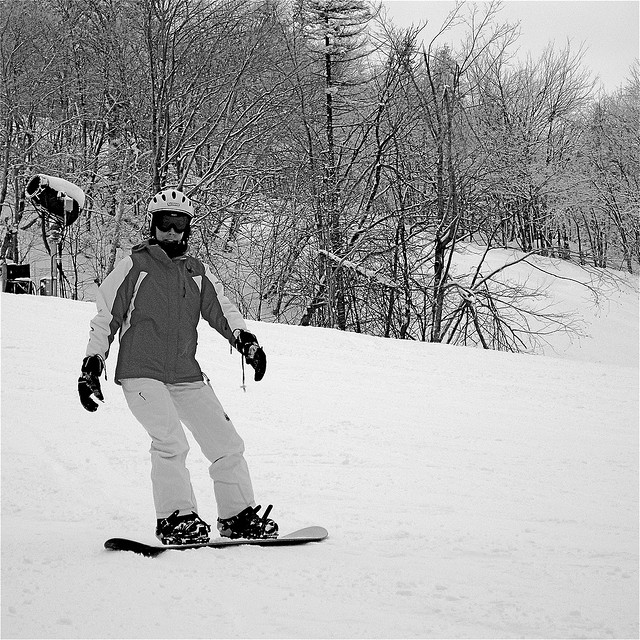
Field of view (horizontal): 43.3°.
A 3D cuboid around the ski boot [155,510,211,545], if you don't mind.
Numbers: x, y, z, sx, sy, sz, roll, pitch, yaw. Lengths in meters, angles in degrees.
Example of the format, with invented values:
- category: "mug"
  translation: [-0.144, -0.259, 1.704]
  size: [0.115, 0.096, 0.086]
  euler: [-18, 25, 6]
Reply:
- category: "ski boot"
  translation: [-0.772, 1.172, 4.544]
  size: [0.263, 0.183, 0.128]
  euler: [-3, -1, -8]

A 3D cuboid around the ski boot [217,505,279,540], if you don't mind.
- category: "ski boot"
  translation: [-0.403, 1.220, 4.881]
  size: [0.416, 0.230, 0.160]
  euler: [-3, -3, 4]

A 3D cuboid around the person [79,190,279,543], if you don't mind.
- category: "person"
  translation: [-0.849, 0.271, 4.806]
  size: [1.112, 2.046, 0.850]
  euler: [2, 7, -17]
